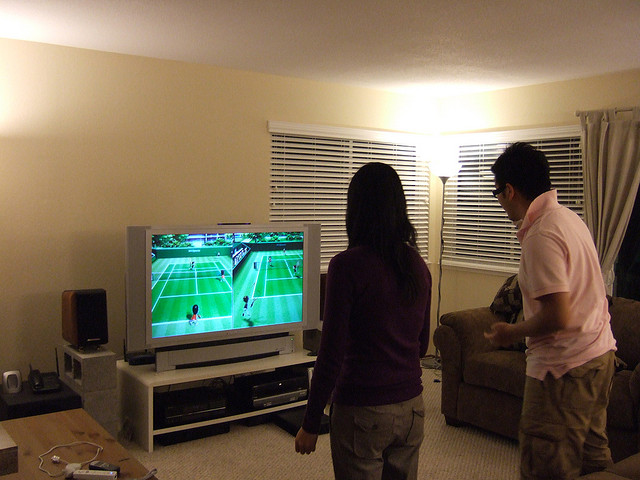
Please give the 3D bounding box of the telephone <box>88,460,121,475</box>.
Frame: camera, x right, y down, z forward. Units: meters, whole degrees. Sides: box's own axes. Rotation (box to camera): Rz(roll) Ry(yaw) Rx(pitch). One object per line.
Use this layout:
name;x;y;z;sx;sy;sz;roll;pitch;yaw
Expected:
telephone;-1.054;1.102;2.357;0.118;0.035;0.066;7;-1;1

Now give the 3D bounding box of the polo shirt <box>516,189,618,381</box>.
polo shirt;1.094;0.182;2.177;0.346;0.761;0.614;-2;8;44

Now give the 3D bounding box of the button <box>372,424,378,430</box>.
button;0.206;0.696;1.798;0.020;0.020;0.001;-3;6;-12

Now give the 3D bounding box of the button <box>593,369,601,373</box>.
button;1.172;0.552;2.043;0.017;0.005;0.016;-1;5;9

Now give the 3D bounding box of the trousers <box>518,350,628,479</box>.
trousers;1.058;0.746;2.303;0.505;0.536;0.661;2;2;27

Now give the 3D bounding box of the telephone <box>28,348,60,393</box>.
telephone;-2.018;0.949;3.519;0.132;0.179;0.249;0;5;-21

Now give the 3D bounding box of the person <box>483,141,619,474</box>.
person;1.017;0.309;2.104;0.548;1.476;0.429;0;6;21
